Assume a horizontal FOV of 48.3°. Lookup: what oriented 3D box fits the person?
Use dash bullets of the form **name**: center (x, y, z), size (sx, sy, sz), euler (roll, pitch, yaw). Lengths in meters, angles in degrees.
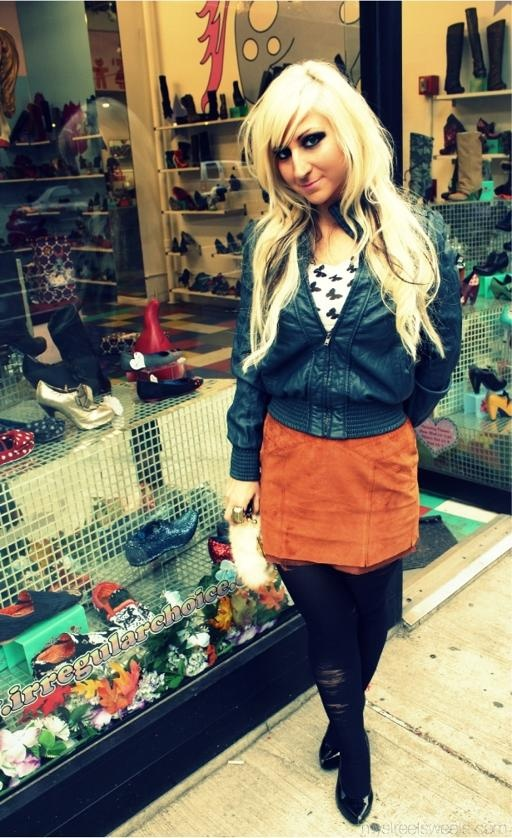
- **person**: center (0.214, 0.186, 1.222), size (0.367, 1.672, 0.322), euler (-13, 12, -40)
